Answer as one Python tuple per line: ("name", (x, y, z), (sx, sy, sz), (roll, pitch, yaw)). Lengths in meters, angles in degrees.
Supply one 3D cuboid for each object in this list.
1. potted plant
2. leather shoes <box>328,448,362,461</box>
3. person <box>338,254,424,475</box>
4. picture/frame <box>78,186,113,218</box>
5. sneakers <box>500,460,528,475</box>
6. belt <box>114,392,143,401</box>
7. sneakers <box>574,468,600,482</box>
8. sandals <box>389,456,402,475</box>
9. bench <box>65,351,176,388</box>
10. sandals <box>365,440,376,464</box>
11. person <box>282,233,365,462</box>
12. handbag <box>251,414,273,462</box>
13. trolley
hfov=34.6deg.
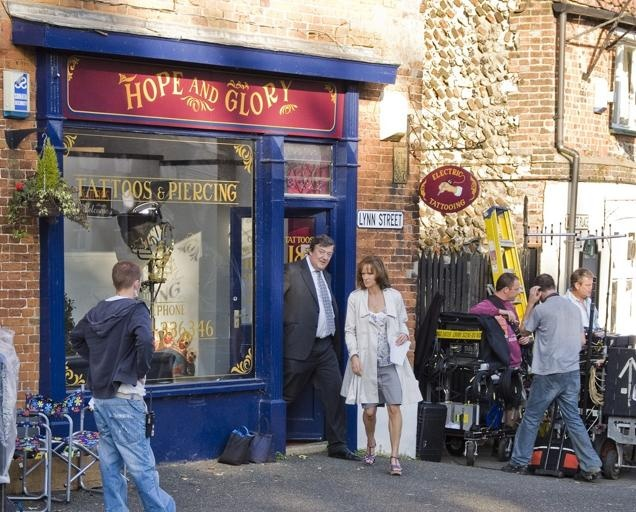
("potted plant", (-2.746, -0.709, 10.442), (0.811, 1.014, 0.493), (1, 0, -24))
("leather shoes", (0.322, 2.257, 11.801), (0.347, 0.140, 0.130), (-2, -3, 26))
("person", (0.693, 1.183, 11.279), (0.832, 2.391, 0.439), (1, 0, 2))
("picture/frame", (-2.392, -0.587, 10.880), (0.031, 0.346, 0.332), (-5, -1, 40))
("sneakers", (2.339, 2.480, 12.068), (0.286, 0.150, 0.127), (6, 3, 19))
("belt", (-1.643, 1.214, 8.962), (0.245, 0.067, 0.057), (1, 0, -33))
("sneakers", (3.114, 2.512, 11.836), (0.126, 0.154, 0.347), (4, -11, -29))
("sandals", (0.874, 2.275, 11.250), (0.132, 0.202, 0.379), (1, 0, 5))
("bench", (-2.196, 1.102, 10.657), (0.938, 0.354, 0.315), (-5, -12, 34))
("sandals", (0.603, 2.212, 11.546), (0.093, 0.117, 0.284), (0, 18, 5))
("person", (-0.086, 1.036, 11.984), (1.156, 2.569, 1.184), (2, 17, 0))
("handbag", (-0.631, 2.056, 11.547), (0.225, 0.512, 0.319), (1, 0, 1))
("trolley", (2.692, 1.623, 13.297), (1.795, 2.425, 1.935), (0, 0, 40))
